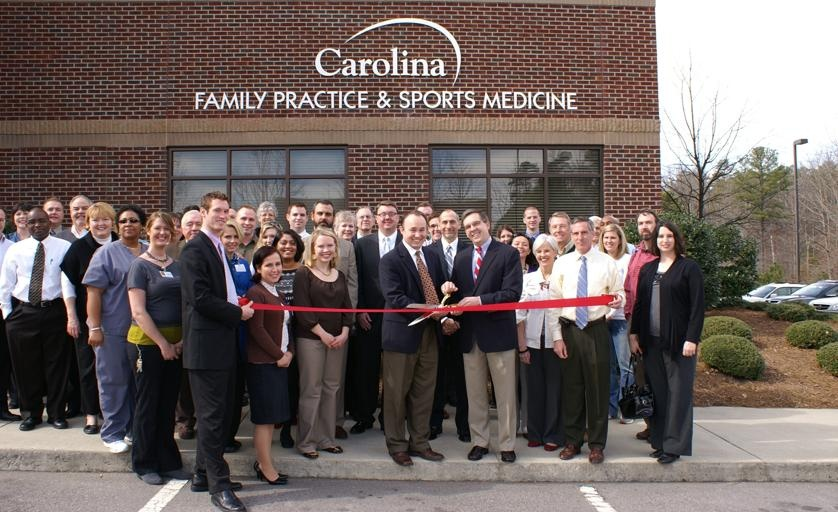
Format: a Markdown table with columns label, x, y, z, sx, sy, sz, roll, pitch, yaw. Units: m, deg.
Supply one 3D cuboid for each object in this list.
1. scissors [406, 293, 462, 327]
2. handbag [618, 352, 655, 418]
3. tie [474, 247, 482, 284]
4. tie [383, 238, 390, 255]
| label | x | y | z | sx | sy | sz | roll | pitch | yaw |
| --- | --- | --- | --- | --- | --- | --- | --- | --- | --- |
| scissors | 0.167 | 0.902 | 13.785 | 1.150 | 0.114 | 0.302 | -18 | -25 | 27 |
| handbag | 3.634 | 2.205 | 14.168 | 0.568 | 1.035 | 0.542 | -3 | -10 | 16 |
| tie | 0.982 | 0.146 | 14.136 | 0.102 | 0.649 | 0.086 | -2 | -12 | 15 |
| tie | -0.580 | -0.189 | 15.181 | 0.097 | 0.335 | 0.096 | 5 | -18 | 45 |
